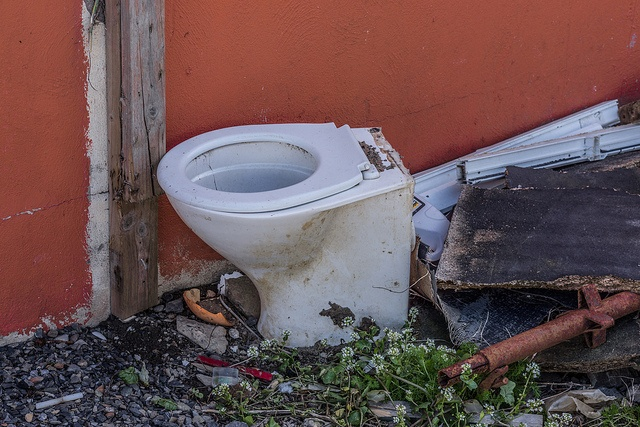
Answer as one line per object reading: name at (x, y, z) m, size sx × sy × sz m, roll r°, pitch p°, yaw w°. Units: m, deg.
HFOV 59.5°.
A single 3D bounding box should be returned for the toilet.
toilet at (-0.135, 0.095, 2.249) m, size 0.922 × 0.717 × 0.630 m, roll -7°, pitch 30°, yaw -14°
